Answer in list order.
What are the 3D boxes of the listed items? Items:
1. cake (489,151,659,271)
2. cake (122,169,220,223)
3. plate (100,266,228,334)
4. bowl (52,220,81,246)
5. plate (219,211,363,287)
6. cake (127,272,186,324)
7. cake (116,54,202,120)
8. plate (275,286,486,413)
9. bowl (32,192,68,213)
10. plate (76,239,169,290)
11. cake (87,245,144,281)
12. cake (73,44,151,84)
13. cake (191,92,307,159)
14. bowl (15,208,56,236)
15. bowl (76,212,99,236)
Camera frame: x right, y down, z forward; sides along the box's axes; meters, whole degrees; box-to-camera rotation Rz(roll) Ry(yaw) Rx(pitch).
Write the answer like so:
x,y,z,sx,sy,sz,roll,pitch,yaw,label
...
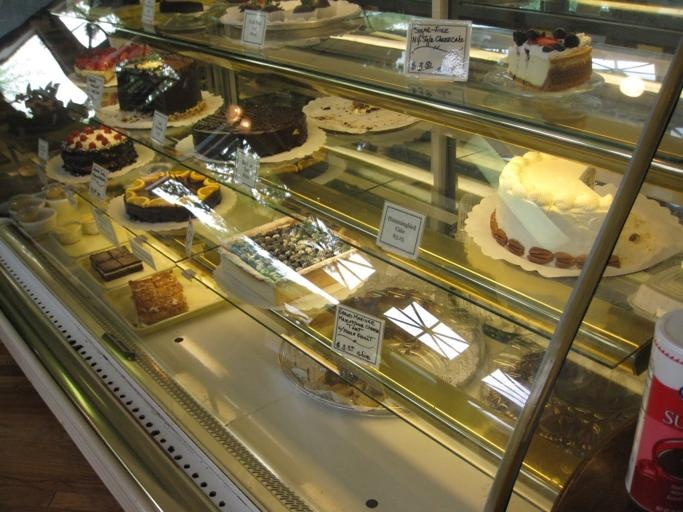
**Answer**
x,y,z,sx,sy,sz,roll,pitch,yaw,label
0.467,-0.070,1.112,0.300,0.094,0.294,-31,44,-19,cake
-0.661,-0.230,2.014,0.317,0.069,0.285,15,33,23,cake
-0.726,0.194,2.116,0.368,0.046,0.369,-23,38,-33,plate
-1.343,-0.119,2.586,0.140,0.066,0.119,8,27,5,bowl
-0.163,-0.011,1.563,0.289,0.058,0.268,-27,39,-30,plate
-0.735,0.171,2.116,0.251,0.065,0.204,-18,57,-2,cake
-0.665,-0.595,1.931,0.325,0.157,0.268,-1,35,-5,cake
0.094,0.323,1.417,0.533,0.061,0.461,5,30,19,plate
-1.470,-0.268,2.641,0.131,0.046,0.133,8,17,-3,bowl
-0.963,0.035,2.323,0.307,0.054,0.292,-21,37,-33,plate
-0.989,0.032,2.315,0.195,0.055,0.191,-18,36,-31,cake
-0.893,-0.749,2.044,0.278,0.086,0.175,-16,48,-3,cake
-0.277,-0.402,1.650,0.311,0.066,0.283,8,35,32,cake
-1.530,-0.169,2.633,0.182,0.082,0.157,-8,27,-13,bowl
-1.247,-0.162,2.603,0.134,0.084,0.131,-1,28,1,bowl
